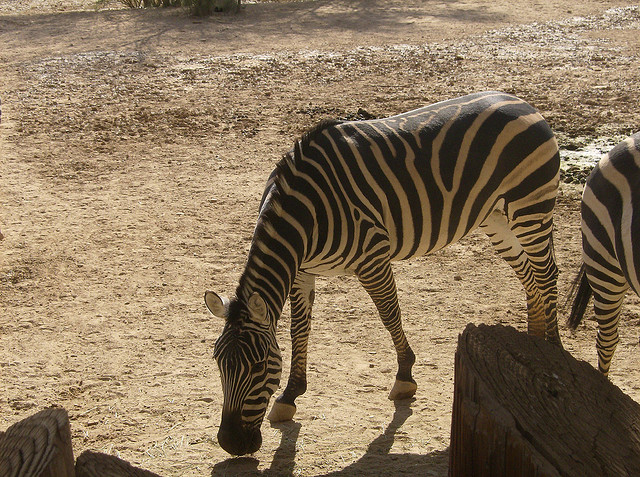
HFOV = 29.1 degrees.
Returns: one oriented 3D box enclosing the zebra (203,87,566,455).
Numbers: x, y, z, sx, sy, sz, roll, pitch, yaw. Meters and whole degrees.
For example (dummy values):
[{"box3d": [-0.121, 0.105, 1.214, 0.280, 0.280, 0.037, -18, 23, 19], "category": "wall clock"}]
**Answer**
[{"box3d": [0.826, 0.231, 15.138, 4.495, 3.391, 1.517, -12, 25, -19], "category": "zebra"}]
